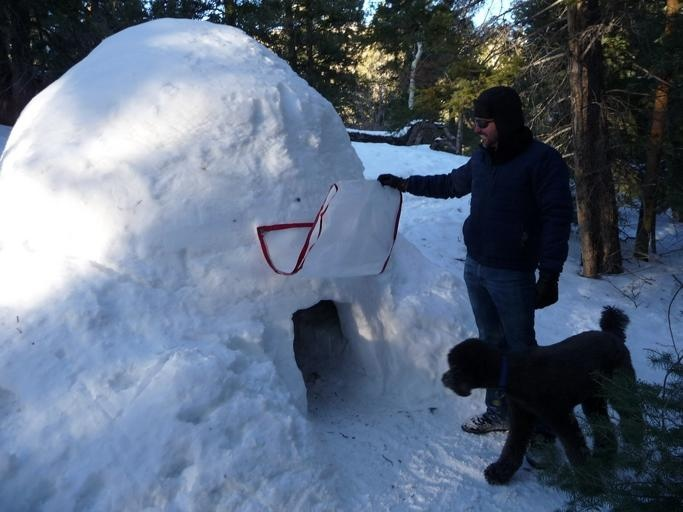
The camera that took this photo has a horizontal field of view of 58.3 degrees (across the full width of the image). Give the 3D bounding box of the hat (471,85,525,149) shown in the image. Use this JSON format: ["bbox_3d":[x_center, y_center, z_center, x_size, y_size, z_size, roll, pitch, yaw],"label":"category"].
[{"bbox_3d":[1.158,-1.090,4.748,0.377,0.456,0.430,-10,34,-2],"label":"hat"}]

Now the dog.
[{"bbox_3d":[1.533,0.984,4.383,1.469,1.276,0.531,-12,4,-7],"label":"dog"}]

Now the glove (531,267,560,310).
[{"bbox_3d":[1.543,0.242,4.594,0.164,0.321,0.180,2,7,17],"label":"glove"}]

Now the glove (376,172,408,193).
[{"bbox_3d":[0.439,-0.606,5.170,0.219,0.141,0.102,21,-28,4],"label":"glove"}]

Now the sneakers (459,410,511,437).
[{"bbox_3d":[1.201,1.369,5.103,0.391,0.193,0.175,2,7,2],"label":"sneakers"}]
